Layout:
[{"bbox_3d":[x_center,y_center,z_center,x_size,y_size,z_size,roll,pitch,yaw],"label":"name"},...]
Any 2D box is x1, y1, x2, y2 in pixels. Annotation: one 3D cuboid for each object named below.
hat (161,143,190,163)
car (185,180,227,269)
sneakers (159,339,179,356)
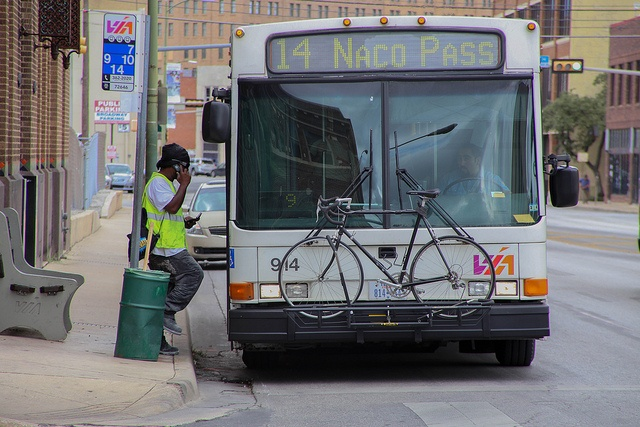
[{"bbox_3d":[-2.100,-0.891,15.429,0.364,0.278,0.260,6,9,3],"label":"hat"},{"bbox_3d":[-2.520,0.260,24.141,1.175,1.096,2.131,0,-4,-7],"label":"car"},{"bbox_3d":[-2.119,1.978,15.270,0.369,0.255,0.140,3,-5,-5],"label":"sneakers"}]
